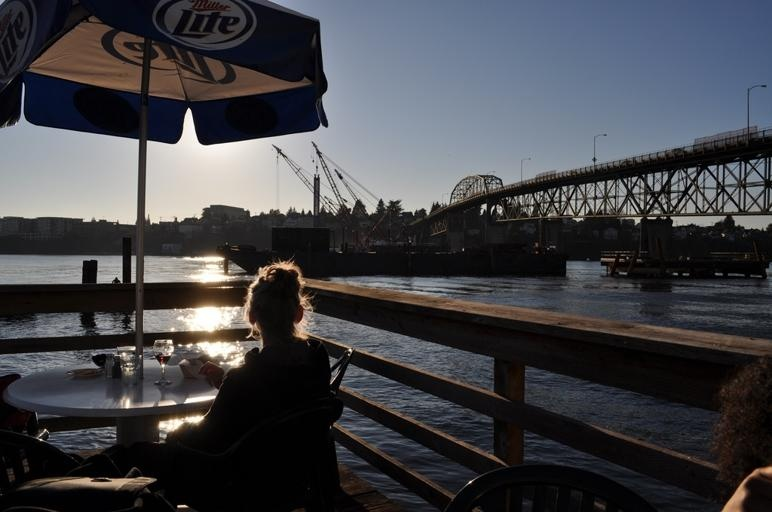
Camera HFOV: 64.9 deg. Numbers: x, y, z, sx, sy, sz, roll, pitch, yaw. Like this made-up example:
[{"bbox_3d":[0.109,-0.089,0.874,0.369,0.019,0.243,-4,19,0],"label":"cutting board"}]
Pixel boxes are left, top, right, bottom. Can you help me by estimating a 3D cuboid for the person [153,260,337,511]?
[{"bbox_3d":[-0.531,0.689,3.514,0.952,1.425,1.080,4,-5,-39],"label":"person"}]
